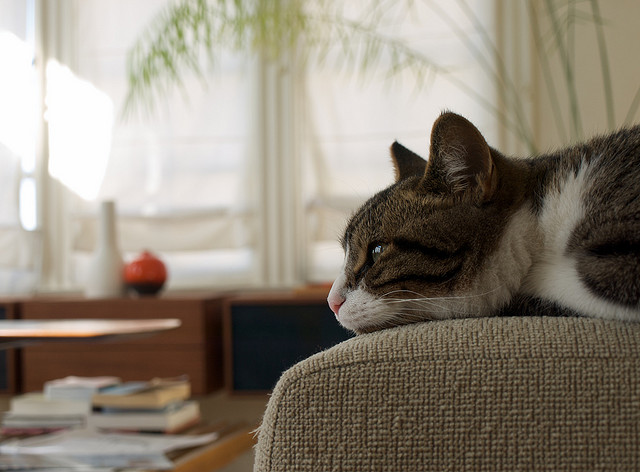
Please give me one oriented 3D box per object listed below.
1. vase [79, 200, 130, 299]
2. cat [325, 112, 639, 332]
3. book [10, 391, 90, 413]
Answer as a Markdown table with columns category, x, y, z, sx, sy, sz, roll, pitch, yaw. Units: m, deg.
| category | x | y | z | sx | sy | sz | roll | pitch | yaw |
| --- | --- | --- | --- | --- | --- | --- | --- | --- | --- |
| vase | -0.761 | 0.051 | 2.587 | 0.141 | 0.339 | 0.094 | -7 | 9 | -11 |
| cat | 0.331 | -0.006 | 1.502 | 0.674 | 0.373 | 0.278 | -10 | -1 | 2 |
| book | -0.822 | 0.513 | 2.273 | 0.127 | 0.028 | 0.127 | 2 | -4 | -2 |
